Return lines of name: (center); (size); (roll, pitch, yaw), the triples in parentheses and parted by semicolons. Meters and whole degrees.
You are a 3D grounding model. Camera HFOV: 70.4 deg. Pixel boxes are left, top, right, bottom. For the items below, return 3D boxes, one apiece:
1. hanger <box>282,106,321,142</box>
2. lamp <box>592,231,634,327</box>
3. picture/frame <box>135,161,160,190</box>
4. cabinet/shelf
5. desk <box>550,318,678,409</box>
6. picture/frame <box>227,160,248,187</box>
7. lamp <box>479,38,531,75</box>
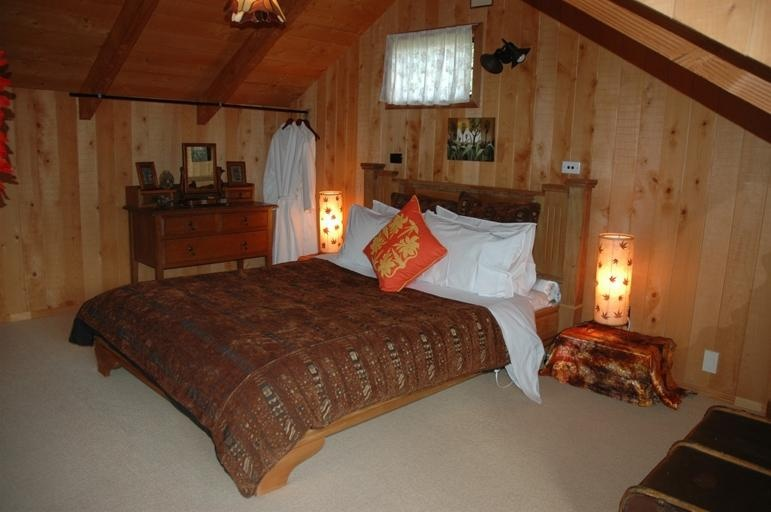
hanger: (-0.907, -1.425, 5.984); (0.405, 0.266, 0.032); (4, 2, 25)
lamp: (1.728, 0.198, 4.153); (0.249, 0.707, 0.191); (2, 7, 22)
picture/frame: (-2.333, -0.769, 5.331); (0.037, 0.356, 0.247); (-7, 6, 42)
cabinet/shelf: (-1.866, -0.174, 5.629); (1.247, 1.086, 0.692); (-9, 14, -43)
desk: (1.696, 0.801, 4.081); (0.948, 0.521, 0.380); (3, 7, 30)
picture/frame: (-1.593, -0.865, 5.834); (0.288, 0.381, 0.026); (-5, 5, -41)
lamp: (1.001, -1.670, 4.566); (0.428, 0.267, 0.262); (3, 7, 29)
